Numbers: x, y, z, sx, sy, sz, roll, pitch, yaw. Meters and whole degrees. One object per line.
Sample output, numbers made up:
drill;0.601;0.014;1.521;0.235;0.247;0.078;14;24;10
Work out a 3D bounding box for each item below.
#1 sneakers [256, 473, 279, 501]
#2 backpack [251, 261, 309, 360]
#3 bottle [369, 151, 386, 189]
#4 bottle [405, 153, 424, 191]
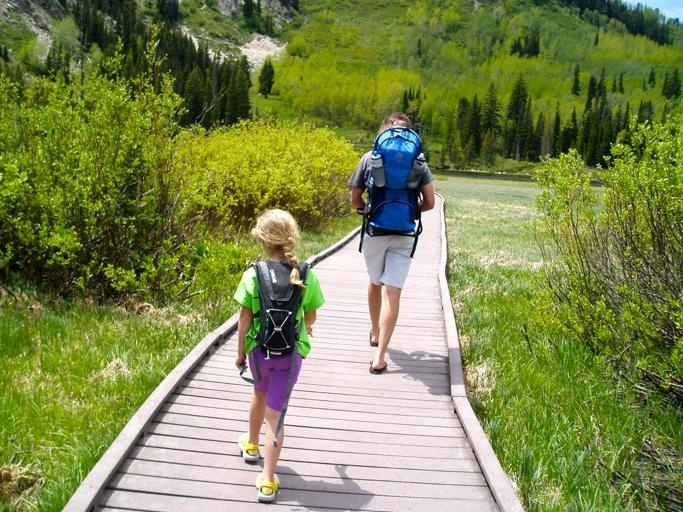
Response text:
sneakers;-0.629;1.917;4.861;0.107;0.098;0.239;7;35;-7
backpack;-0.548;0.474;5.032;0.393;0.867;0.453;3;-3;1
bottle;0.397;-0.927;6.341;0.165;0.482;0.176;-5;24;2
bottle;0.820;-0.904;6.387;0.205;0.352;0.297;6;11;3
